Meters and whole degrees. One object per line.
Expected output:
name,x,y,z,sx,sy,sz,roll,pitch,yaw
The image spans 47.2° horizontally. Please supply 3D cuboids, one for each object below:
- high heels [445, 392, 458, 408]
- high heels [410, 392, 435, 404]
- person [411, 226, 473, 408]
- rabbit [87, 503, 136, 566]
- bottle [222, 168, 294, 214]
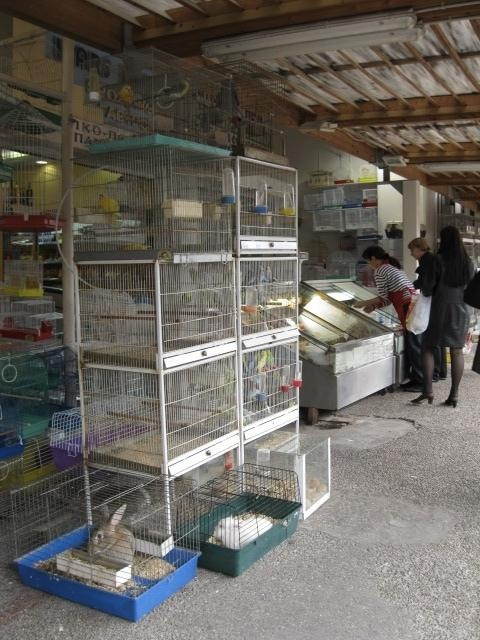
high heels,2.179,0.832,5.671,0.071,0.096,0.202,-2,17,9
high heels,1.927,0.817,5.810,0.244,0.121,0.118,2,1,15
person,2.104,-0.033,5.685,0.507,1.854,0.350,3,4,21
rabbit,-0.565,0.919,2.387,0.175,0.196,0.409,1,4,-16
bottle,0.137,-0.747,3.281,0.132,0.255,0.797,4,4,27
